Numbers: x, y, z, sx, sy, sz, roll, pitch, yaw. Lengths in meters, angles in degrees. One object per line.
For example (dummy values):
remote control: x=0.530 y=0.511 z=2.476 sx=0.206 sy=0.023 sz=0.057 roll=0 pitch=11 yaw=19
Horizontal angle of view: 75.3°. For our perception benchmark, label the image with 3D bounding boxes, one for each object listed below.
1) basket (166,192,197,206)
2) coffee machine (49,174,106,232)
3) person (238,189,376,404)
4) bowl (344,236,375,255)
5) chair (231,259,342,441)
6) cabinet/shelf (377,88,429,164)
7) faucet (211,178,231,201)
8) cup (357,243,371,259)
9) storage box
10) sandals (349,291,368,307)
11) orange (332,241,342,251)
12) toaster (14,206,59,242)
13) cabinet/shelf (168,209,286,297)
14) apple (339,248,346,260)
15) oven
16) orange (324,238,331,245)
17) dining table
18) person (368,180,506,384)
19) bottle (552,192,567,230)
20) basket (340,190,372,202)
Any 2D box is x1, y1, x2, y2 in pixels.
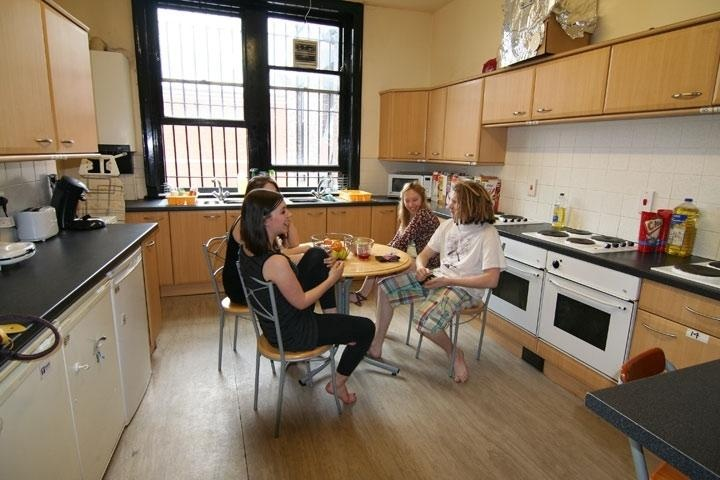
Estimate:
basket: x=-1.907 y=-0.451 z=5.017 sx=0.277 sy=0.107 sz=0.405 roll=-3 pitch=13 yaw=-16
coffee machine: x=-2.184 y=-0.281 z=3.759 sx=0.480 sy=0.525 sz=0.306 roll=-1 pitch=14 yaw=-29
person: x=-0.338 y=0.435 z=3.291 sx=0.889 sy=1.603 sz=0.641 roll=-7 pitch=14 yaw=-17
bowl: x=-0.005 y=0.032 z=3.743 sx=0.179 sy=0.096 sz=0.182 roll=2 pitch=13 yaw=0
chair: x=-0.487 y=0.740 z=3.356 sx=0.556 sy=1.048 sz=0.648 roll=9 pitch=13 yaw=43
cabinet/shelf: x=0.542 y=-1.466 z=5.876 sx=0.591 sy=0.836 sz=0.559 roll=-4 pitch=17 yaw=-13
faucet: x=-1.649 y=-0.596 z=5.486 sx=0.223 sy=0.300 sz=0.160 roll=-8 pitch=28 yaw=-14
cup: x=0.030 y=0.090 z=3.711 sx=0.111 sy=0.127 sz=0.109 roll=0 pitch=15 yaw=0
storage box: x=1.599 y=-1.639 z=3.956 sx=0.328 sy=0.216 sz=0.338 roll=-26 pitch=10 yaw=-40
sandals: x=-0.025 y=0.621 z=4.917 sx=0.083 sy=0.090 sz=0.218 roll=-6 pitch=18 yaw=-29
orange: x=-0.177 y=0.048 z=3.601 sx=0.068 sy=0.075 sz=0.055 roll=-7 pitch=-8 yaw=18
toaster: x=-2.368 y=-0.126 z=3.453 sx=0.165 sy=0.265 sz=0.313 roll=0 pitch=9 yaw=-5
cabinet/shelf: x=-1.578 y=0.025 z=5.321 sx=1.290 sy=1.321 sz=0.760 roll=-2 pitch=6 yaw=-22
apple: x=-0.130 y=0.098 z=3.596 sx=0.077 sy=0.094 sz=0.079 roll=1 pitch=26 yaw=-2
oven: x=1.735 y=0.384 z=3.970 sx=0.791 sy=0.924 sz=1.369 roll=-16 pitch=26 yaw=-37
orange: x=-0.273 y=0.011 z=3.894 sx=0.079 sy=0.029 sz=0.091 roll=3 pitch=11 yaw=-2
dining table: x=-0.080 y=0.702 z=3.819 sx=0.810 sy=0.751 sz=0.820 roll=-15 pitch=-4 yaw=-3
person: x=0.541 y=0.269 z=3.677 sx=1.060 sy=1.510 sz=0.958 roll=4 pitch=8 yaw=7
bottle: x=1.823 y=-0.273 z=4.239 sx=0.118 sy=0.312 sz=0.260 roll=6 pitch=14 yaw=23
basket: x=-0.031 y=-0.530 z=5.571 sx=0.212 sy=0.069 sz=0.217 roll=-2 pitch=16 yaw=-14
